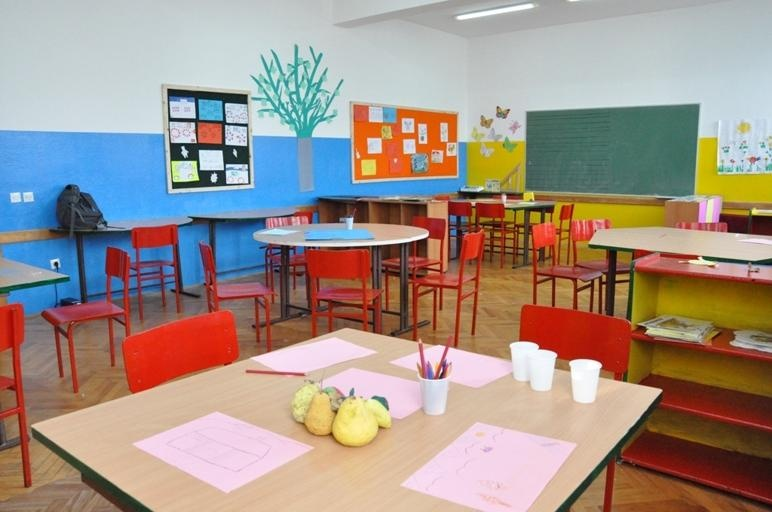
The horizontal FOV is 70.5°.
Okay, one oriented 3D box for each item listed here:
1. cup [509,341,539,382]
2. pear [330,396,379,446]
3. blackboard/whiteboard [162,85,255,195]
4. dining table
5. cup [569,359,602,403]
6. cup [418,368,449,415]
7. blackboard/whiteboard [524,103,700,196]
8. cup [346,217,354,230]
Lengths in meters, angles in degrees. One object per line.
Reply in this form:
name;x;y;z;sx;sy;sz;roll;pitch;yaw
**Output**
cup;0.583;0.453;2.420;0.162;0.150;0.160;-1;6;0
pear;-0.113;0.608;2.047;0.173;0.152;0.163;-2;-3;-2
blackboard/whiteboard;-2.275;-1.472;6.860;0.113;1.563;1.473;6;11;41
dining table;-0.332;0.022;5.226;1.395;0.754;1.283;3;13;17
cup;0.801;0.503;2.268;0.163;0.139;0.157;-2;8;0
cup;0.191;0.544;2.179;0.151;0.118;0.137;2;6;22
blackboard/whiteboard;3.886;-1.791;9.111;1.979;1.076;0.080;6;12;37
cup;-0.315;-0.313;5.214;0.114;0.112;0.108;-1;5;0
